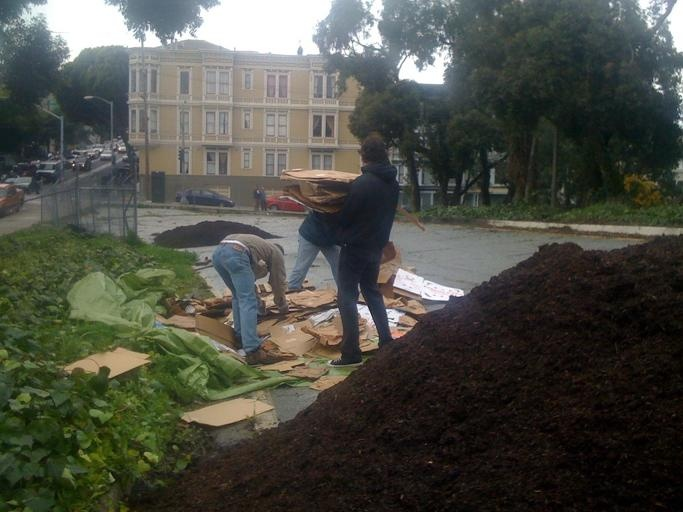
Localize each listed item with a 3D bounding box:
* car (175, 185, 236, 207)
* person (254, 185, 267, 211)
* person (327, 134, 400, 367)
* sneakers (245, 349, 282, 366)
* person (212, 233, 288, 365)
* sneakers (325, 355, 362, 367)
[{"bbox_3d":[-9.081,-4.045,43.783,3.353,1.093,1.316,3,2,14],"label":"car"},{"bbox_3d":[-5.074,-3.774,41.572,0.828,1.451,2.758,2,2,-8],"label":"person"},{"bbox_3d":[0.224,-0.140,6.871,0.666,2.149,0.666,-5,11,-37],"label":"person"},{"bbox_3d":[-0.824,0.949,6.978,0.360,0.183,0.140,-3,4,-5],"label":"sneakers"},{"bbox_3d":[-0.914,0.356,7.283,0.901,1.274,0.899,1,3,-28],"label":"person"},{"bbox_3d":[0.043,0.996,6.903,0.331,0.156,0.126,4,-2,5],"label":"sneakers"}]
